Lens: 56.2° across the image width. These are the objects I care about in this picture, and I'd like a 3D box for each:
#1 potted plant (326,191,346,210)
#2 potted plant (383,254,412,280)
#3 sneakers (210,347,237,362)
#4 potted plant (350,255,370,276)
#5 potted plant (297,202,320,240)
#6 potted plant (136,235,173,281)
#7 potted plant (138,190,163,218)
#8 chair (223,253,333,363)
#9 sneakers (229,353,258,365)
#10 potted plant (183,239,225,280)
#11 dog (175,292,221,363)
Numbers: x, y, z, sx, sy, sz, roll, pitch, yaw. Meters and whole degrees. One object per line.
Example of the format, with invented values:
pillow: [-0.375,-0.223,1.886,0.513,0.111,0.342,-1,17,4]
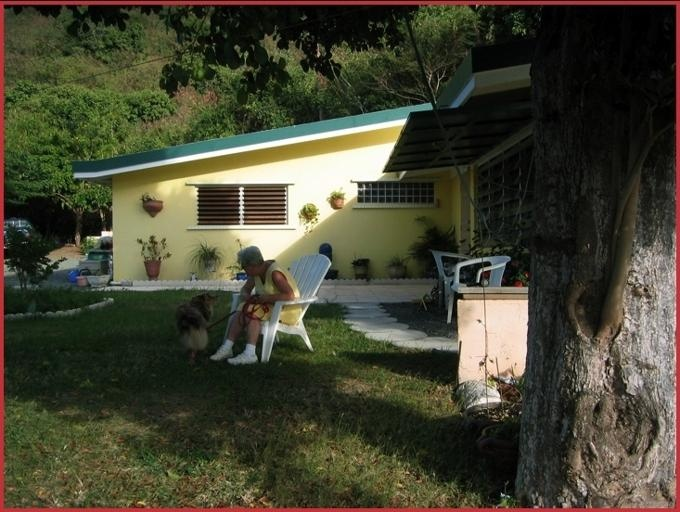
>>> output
potted plant: [-0.065,-1.156,13.238,0.305,0.385,0.349,2,0,-19]
potted plant: [1.185,0.204,13.405,0.420,0.518,0.439,2,5,9]
sneakers: [-1.065,0.895,5.800,0.082,0.104,0.236,-3,-5,36]
potted plant: [0.423,0.220,13.359,0.321,0.371,0.348,3,4,20]
potted plant: [-0.695,-0.753,13.400,0.522,0.639,0.486,-1,9,-13]
potted plant: [-3.810,0.036,12.989,0.741,0.975,0.465,-2,-1,1]
potted plant: [-3.774,-1.080,12.881,0.392,0.540,0.466,-1,0,-4]
chair: [-0.541,0.459,6.336,0.981,1.001,0.792,-5,5,-43]
sneakers: [-0.859,0.916,5.667,0.183,0.087,0.112,3,-6,-9]
potted plant: [-2.784,0.102,13.310,0.598,0.759,0.687,1,-1,-13]
dog: [-1.435,0.638,6.024,0.248,0.508,0.878,-3,16,-18]
